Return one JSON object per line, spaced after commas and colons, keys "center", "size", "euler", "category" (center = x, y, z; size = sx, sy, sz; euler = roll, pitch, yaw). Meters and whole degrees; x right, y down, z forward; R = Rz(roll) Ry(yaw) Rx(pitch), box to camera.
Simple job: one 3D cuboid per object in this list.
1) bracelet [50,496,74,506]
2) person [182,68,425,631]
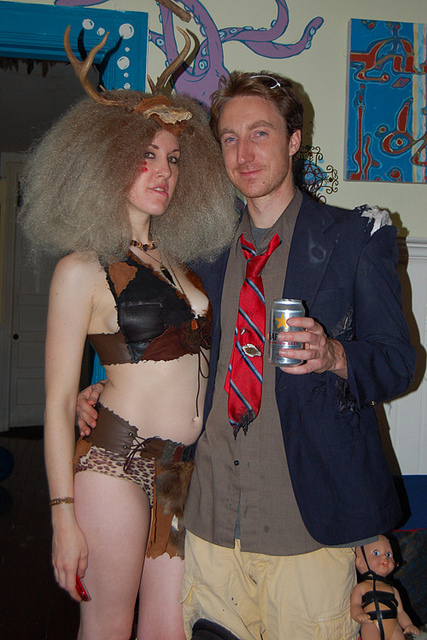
{"center": [-0.386, 0.458, 1.400], "size": [0.050, 0.023, 0.016], "euler": [0, 2, -9], "category": "bracelet"}
{"center": [0.176, 0.058, 1.467], "size": [0.390, 1.538, 0.585], "euler": [0, 3, -30], "category": "person"}
